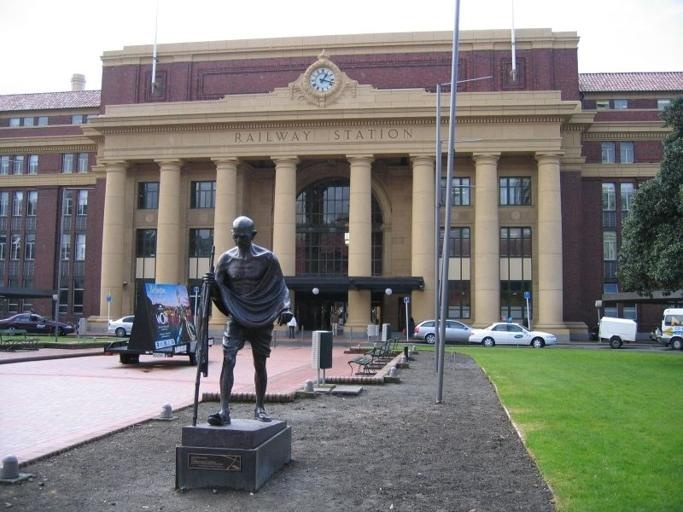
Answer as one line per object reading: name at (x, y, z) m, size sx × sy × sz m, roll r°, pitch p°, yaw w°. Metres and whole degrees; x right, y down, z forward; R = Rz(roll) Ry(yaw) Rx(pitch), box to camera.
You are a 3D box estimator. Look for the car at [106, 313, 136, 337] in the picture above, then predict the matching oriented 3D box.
car at (-15.344, 4.951, 52.307) m, size 1.528 × 1.400 × 7.441 m, roll -1°, pitch 3°, yaw -18°
